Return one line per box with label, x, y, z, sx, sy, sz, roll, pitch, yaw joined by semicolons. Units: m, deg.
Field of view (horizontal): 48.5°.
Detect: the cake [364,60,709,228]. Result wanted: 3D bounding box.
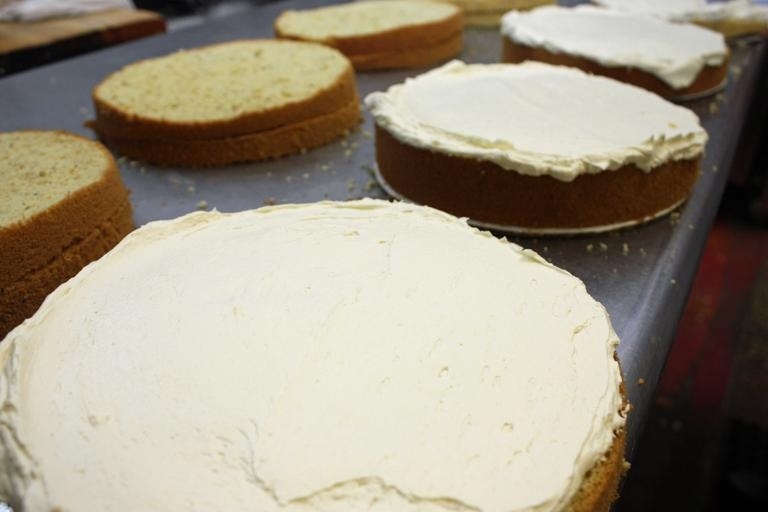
cake;0.362;-0.275;2.141;0.542;0.164;0.565;8;30;11
